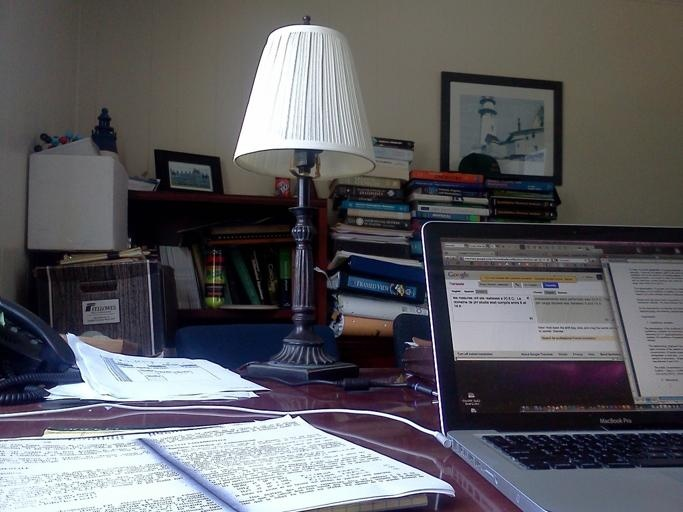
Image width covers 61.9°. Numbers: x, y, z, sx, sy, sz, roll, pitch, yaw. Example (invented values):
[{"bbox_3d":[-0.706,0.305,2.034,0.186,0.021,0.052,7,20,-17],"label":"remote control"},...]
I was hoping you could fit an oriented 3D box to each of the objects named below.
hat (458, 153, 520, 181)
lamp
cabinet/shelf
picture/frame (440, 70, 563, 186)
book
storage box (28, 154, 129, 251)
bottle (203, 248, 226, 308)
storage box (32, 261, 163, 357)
[{"bbox_3d":[0.697,-0.422,2.780,0.197,0.105,0.125,0,2,-22],"label":"hat"},{"bbox_3d":[-0.080,-0.135,1.278,0.316,0.802,0.320,1,-2,6],"label":"lamp"},{"bbox_3d":[-0.441,0.020,2.177,0.540,0.519,0.175,2,-4,-7],"label":"cabinet/shelf"},{"bbox_3d":[0.793,-0.640,2.911,0.601,0.511,0.042,5,-8,-16],"label":"picture/frame"},{"bbox_3d":[0.255,-0.067,1.855,0.907,0.819,0.285,0,-2,-12],"label":"book"},{"bbox_3d":[-0.928,-0.181,2.127,0.333,0.327,0.318,0,-4,-2],"label":"storage box"},{"bbox_3d":[-0.526,0.089,2.345,0.072,0.195,0.072,1,-1,0],"label":"bottle"},{"bbox_3d":[-0.765,0.146,1.934,0.422,0.420,0.319,-1,-3,-6],"label":"storage box"}]
